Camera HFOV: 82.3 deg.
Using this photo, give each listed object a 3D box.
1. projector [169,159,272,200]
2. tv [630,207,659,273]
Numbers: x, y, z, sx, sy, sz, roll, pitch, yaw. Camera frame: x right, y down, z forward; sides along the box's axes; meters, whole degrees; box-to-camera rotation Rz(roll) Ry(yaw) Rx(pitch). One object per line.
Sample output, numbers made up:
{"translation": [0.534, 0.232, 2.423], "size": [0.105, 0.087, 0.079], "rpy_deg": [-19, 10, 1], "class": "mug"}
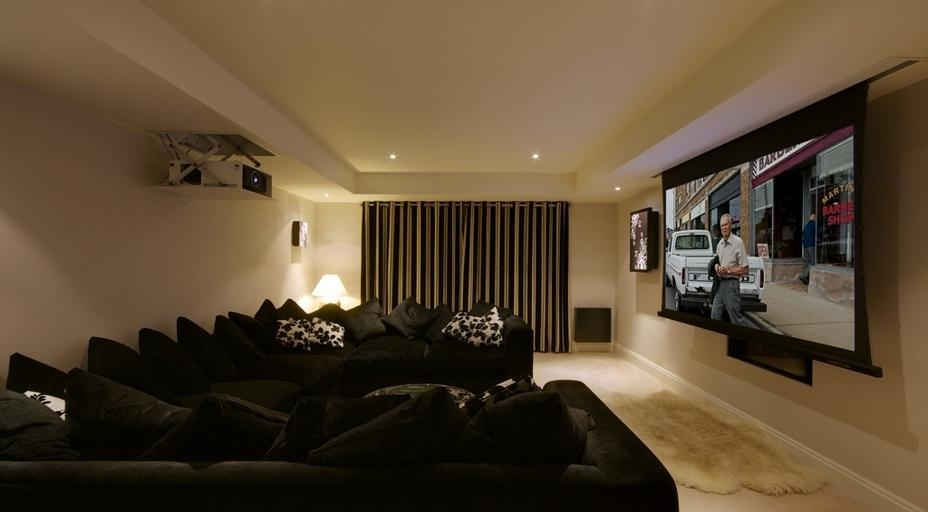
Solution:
{"translation": [-2.391, -0.793, 5.777], "size": [0.981, 0.319, 1.444], "rpy_deg": [2, 1, -8], "class": "projector"}
{"translation": [2.508, -0.223, 7.407], "size": [0.167, 0.852, 0.639], "rpy_deg": [1, -1, -10], "class": "tv"}
